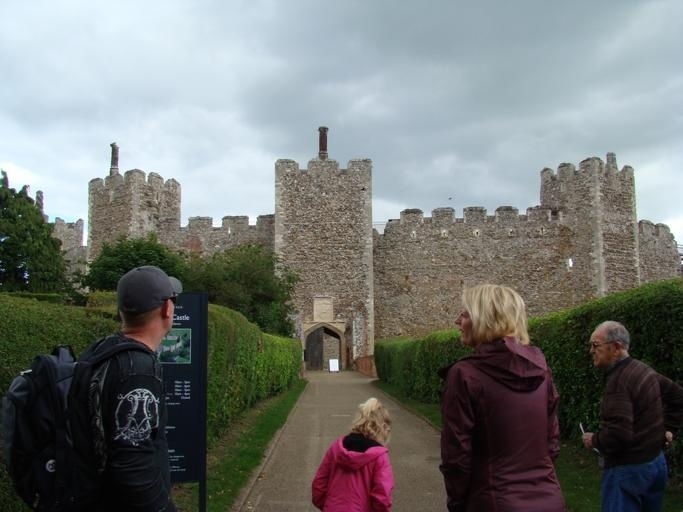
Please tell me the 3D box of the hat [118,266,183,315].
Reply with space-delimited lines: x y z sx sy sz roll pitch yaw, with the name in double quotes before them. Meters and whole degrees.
"hat" -1.256 0.182 4.451 0.345 0.266 0.508 -3 13 16
